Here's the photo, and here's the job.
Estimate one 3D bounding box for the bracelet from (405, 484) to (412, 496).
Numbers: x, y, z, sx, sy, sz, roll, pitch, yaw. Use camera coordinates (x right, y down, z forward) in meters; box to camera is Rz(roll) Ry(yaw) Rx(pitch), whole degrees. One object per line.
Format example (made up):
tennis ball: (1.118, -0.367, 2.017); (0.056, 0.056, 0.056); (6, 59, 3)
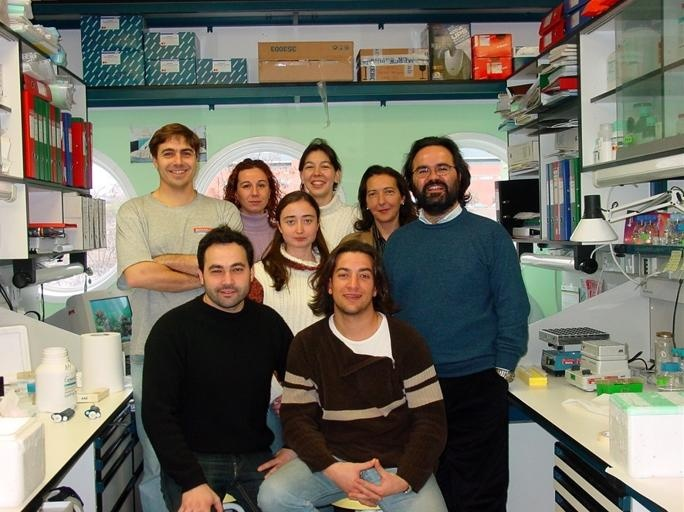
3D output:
bracelet: (0.266, 0.943, 2.111); (0.031, 0.039, 0.034); (-1, -26, 1)

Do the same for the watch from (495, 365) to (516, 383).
watch: (0.744, 0.540, 2.396); (0.077, 0.042, 0.072); (20, 3, 15)

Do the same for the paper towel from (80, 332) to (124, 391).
paper towel: (-1.152, 0.520, 2.520); (0.190, 0.310, 0.144); (-4, 1, -25)

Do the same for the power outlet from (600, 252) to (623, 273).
power outlet: (1.657, 0.044, 3.264); (0.199, 0.135, 0.100); (-3, 4, -23)
